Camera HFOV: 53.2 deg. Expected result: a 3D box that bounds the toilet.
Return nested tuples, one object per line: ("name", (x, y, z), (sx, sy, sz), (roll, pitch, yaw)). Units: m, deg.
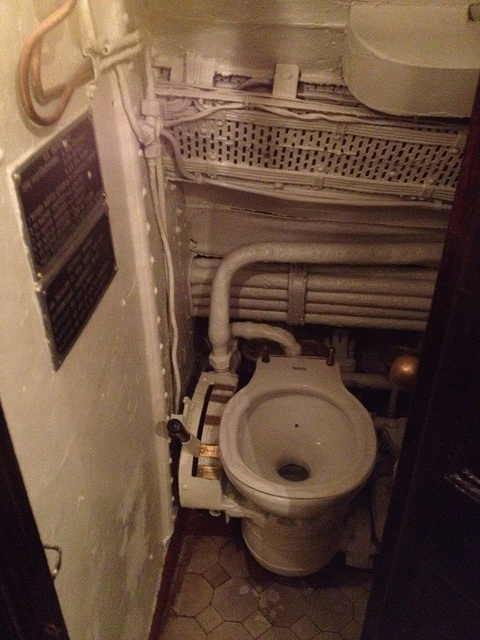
("toilet", (0.157, 0.740, 2.325), (0.816, 1.045, 0.751), (13, 34, 23))
